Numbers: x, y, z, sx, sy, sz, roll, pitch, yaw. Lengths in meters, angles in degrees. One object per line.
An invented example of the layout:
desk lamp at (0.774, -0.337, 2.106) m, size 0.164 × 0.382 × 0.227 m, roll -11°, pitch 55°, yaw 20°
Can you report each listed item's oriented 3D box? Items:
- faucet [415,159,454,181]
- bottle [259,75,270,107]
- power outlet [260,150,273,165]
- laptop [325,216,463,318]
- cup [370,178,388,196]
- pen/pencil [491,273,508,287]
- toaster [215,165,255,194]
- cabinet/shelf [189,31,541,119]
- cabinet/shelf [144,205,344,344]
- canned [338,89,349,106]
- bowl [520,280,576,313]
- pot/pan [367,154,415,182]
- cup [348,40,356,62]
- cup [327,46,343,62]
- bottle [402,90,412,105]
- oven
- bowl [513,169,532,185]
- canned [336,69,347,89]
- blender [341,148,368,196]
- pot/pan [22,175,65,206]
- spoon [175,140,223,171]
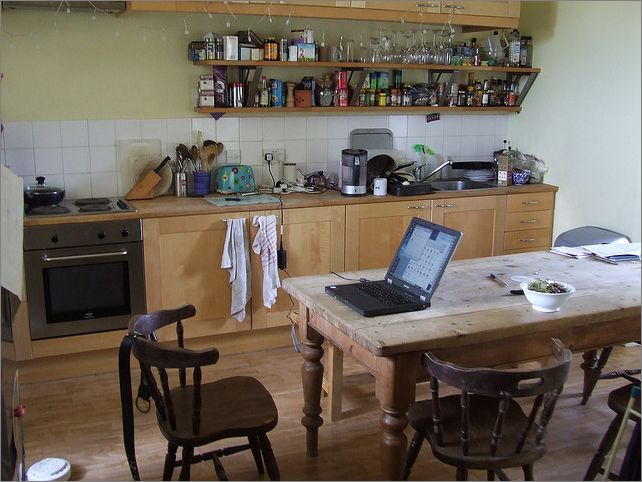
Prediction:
faucet at (1.108, -0.668, 4.827) m, size 0.298 × 0.179 × 0.535 m, roll 2°, pitch 14°, yaw 14°
bottle at (-0.463, -1.224, 4.189) m, size 0.087 × 0.214 × 0.144 m, roll -1°, pitch 13°, yaw 3°
power outlet at (-0.452, -0.714, 4.406) m, size 0.083 × 0.119 × 0.038 m, roll -3°, pitch 13°, yaw -5°
laptop at (0.406, 0.152, 2.433) m, size 0.397 × 0.535 × 0.478 m, roll 21°, pitch 5°, yaw -28°
cup at (0.496, -0.449, 4.231) m, size 0.153 × 0.134 × 0.096 m, roll 1°, pitch 11°, yaw 8°
pen/pencil at (0.931, 0.208, 2.648) m, size 0.021 × 0.018 × 0.130 m, roll -28°, pitch 34°, yaw -8°
toaster at (-0.714, -0.507, 4.184) m, size 0.399 × 0.292 × 0.216 m, roll -2°, pitch 22°, yaw -17°
cabinet/shelf at (0.548, -1.451, 4.426) m, size 3.159 × 0.701 × 0.430 m, roll -6°, pitch 14°, yaw -19°
cabinet/shelf at (-0.606, 0.224, 3.557) m, size 1.019 × 0.612 × 0.351 m, roll -5°, pitch 20°, yaw -19°
canned at (0.206, -1.224, 4.338) m, size 0.062 × 0.146 × 0.126 m, roll 11°, pitch 18°, yaw 43°
bowl at (1.025, 0.244, 2.312) m, size 0.208 × 0.086 × 0.200 m, roll 1°, pitch -22°, yaw 0°
pot/pan at (0.630, -0.650, 4.536) m, size 0.239 × 0.137 × 0.383 m, roll -18°, pitch 28°, yaw -38°
cup at (0.262, -1.651, 4.414) m, size 0.082 × 0.186 × 0.191 m, roll 0°, pitch 13°, yaw 4°
cup at (0.121, -1.581, 4.285) m, size 0.129 × 0.154 × 0.333 m, roll -1°, pitch 13°, yaw 4°
bottle at (0.775, -1.287, 4.564) m, size 0.101 × 0.176 × 0.096 m, roll 0°, pitch 20°, yaw 0°
oven at (-1.675, 0.331, 3.707) m, size 0.802 × 0.710 × 0.598 m, roll -4°, pitch -6°, yaw -19°
bowl at (1.920, -0.614, 4.846) m, size 0.147 × 0.110 × 0.145 m, roll -2°, pitch 13°, yaw 0°
canned at (0.195, -1.380, 4.343) m, size 0.072 × 0.146 × 0.145 m, roll 8°, pitch 16°, yaw 36°
blender at (0.280, -0.572, 4.246) m, size 0.215 × 0.369 × 0.260 m, roll -1°, pitch 13°, yaw 2°
pot/pan at (-2.006, -0.332, 3.666) m, size 0.233 × 0.154 × 0.272 m, roll -4°, pitch 8°, yaw -24°
spoon at (-0.981, -0.698, 4.151) m, size 0.394 × 0.239 × 0.190 m, roll -5°, pitch 14°, yaw -17°
